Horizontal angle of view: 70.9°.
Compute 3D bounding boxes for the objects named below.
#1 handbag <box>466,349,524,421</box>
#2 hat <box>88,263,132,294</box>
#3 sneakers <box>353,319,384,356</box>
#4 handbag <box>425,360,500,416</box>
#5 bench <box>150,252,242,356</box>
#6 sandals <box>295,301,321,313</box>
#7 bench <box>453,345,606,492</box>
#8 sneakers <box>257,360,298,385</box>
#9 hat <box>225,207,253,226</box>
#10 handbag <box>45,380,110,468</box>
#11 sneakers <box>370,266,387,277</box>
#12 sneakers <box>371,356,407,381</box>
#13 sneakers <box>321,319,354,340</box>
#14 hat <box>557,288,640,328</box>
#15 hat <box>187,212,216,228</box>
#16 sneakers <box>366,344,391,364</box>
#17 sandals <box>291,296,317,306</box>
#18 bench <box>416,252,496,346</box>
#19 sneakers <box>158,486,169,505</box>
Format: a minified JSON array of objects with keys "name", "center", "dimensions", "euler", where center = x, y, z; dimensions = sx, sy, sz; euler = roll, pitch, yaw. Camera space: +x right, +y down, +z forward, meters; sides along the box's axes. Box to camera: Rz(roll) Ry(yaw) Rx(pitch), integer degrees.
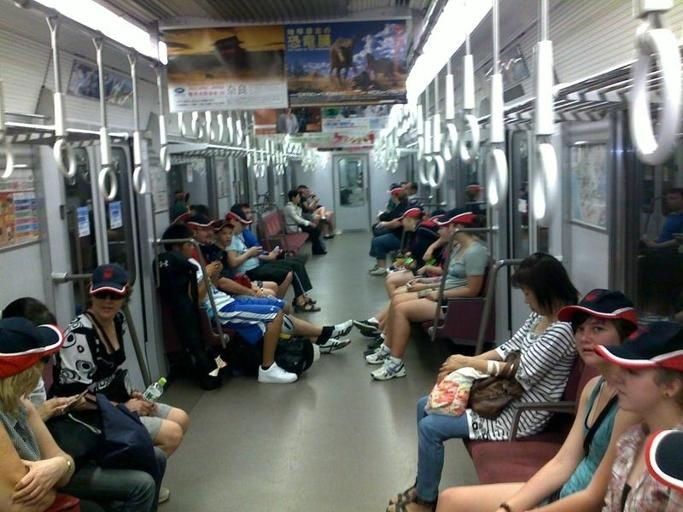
[{"name":"handbag","center":[0.976,0.837,3.038],"dimensions":[0.412,0.234,0.343],"euler":[-40,0,7]},{"name":"hat","center":[-1.571,0.161,3.242],"dimensions":[0.208,0.199,0.378],"euler":[-5,10,-19]},{"name":"sneakers","center":[0.397,1.074,6.573],"dimensions":[0.597,0.286,0.204],"euler":[15,-14,-5]},{"name":"handbag","center":[0.772,0.917,3.086],"dimensions":[0.376,0.115,0.325],"euler":[-38,24,6]},{"name":"bench","center":[-1.705,0.495,5.706],"dimensions":[0.882,1.189,0.922],"euler":[-4,4,39]},{"name":"sandals","center":[-0.591,0.874,8.338],"dimensions":[0.519,0.226,0.177],"euler":[-2,4,1]},{"name":"bench","center":[1.122,0.965,3.116],"dimensions":[0.794,1.041,0.666],"euler":[0,-6,-4]},{"name":"sneakers","center":[-0.746,1.343,5.483],"dimensions":[0.493,0.243,0.188],"euler":[0,3,-2]},{"name":"hat","center":[-1.596,-0.675,7.414],"dimensions":[0.352,0.146,0.262],"euler":[20,1,6]},{"name":"handbag","center":[-1.432,0.909,2.577],"dimensions":[0.135,0.379,0.304],"euler":[-31,-3,41]},{"name":"sneakers","center":[0.854,0.336,11.071],"dimensions":[0.418,0.178,0.151],"euler":[1,-2,-1]},{"name":"sneakers","center":[0.549,1.284,5.530],"dimensions":[0.489,0.295,0.189],"euler":[-2,1,-13]},{"name":"sneakers","center":[-0.009,0.928,6.381],"dimensions":[0.500,0.174,0.232],"euler":[-19,-36,4]},{"name":"hat","center":[1.224,0.252,2.276],"dimensions":[0.271,0.144,0.197],"euler":[5,-11,-2]},{"name":"hat","center":[-1.757,-0.446,5.958],"dimensions":[0.289,0.102,0.204],"euler":[2,10,5]},{"name":"sneakers","center":[0.471,1.221,5.906],"dimensions":[0.423,0.200,0.147],"euler":[-19,7,43]},{"name":"sandals","center":[-0.649,0.777,8.439],"dimensions":[0.495,0.212,0.167],"euler":[0,3,-1]},{"name":"bench","center":[1.422,0.448,5.624],"dimensions":[0.849,0.991,0.826],"euler":[4,12,32]},{"name":"sneakers","center":[-1.287,1.717,3.478],"dimensions":[0.065,0.078,0.158],"euler":[-4,9,-15]}]
